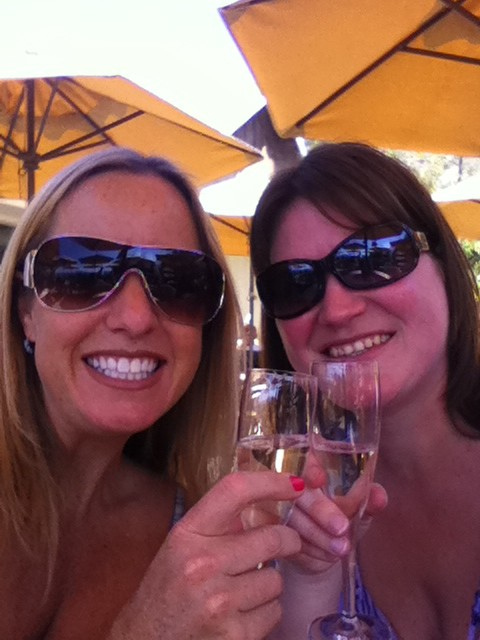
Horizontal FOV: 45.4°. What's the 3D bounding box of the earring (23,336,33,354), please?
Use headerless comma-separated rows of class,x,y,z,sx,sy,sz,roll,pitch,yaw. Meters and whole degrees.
earring,-0.713,0.088,1.931,0.026,0.050,0.016,0,3,-24

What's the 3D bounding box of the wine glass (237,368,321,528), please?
wine glass,0.114,0.355,1.536,0.235,0.447,0.249,1,2,-6
